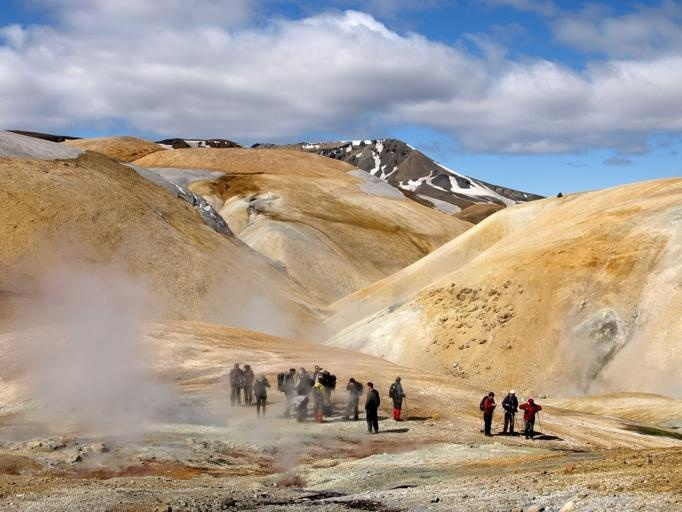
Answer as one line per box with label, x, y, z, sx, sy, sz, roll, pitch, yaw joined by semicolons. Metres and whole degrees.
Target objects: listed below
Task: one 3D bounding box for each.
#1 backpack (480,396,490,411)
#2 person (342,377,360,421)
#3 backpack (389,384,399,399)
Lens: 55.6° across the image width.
backpack;5.622;5.718;25.093;0.396;0.504;0.568;10;4;10
person;0.563;5.824;26.674;0.738;1.243;1.452;10;3;4
backpack;2.117;5.414;25.880;0.409;0.463;0.267;11;4;34
